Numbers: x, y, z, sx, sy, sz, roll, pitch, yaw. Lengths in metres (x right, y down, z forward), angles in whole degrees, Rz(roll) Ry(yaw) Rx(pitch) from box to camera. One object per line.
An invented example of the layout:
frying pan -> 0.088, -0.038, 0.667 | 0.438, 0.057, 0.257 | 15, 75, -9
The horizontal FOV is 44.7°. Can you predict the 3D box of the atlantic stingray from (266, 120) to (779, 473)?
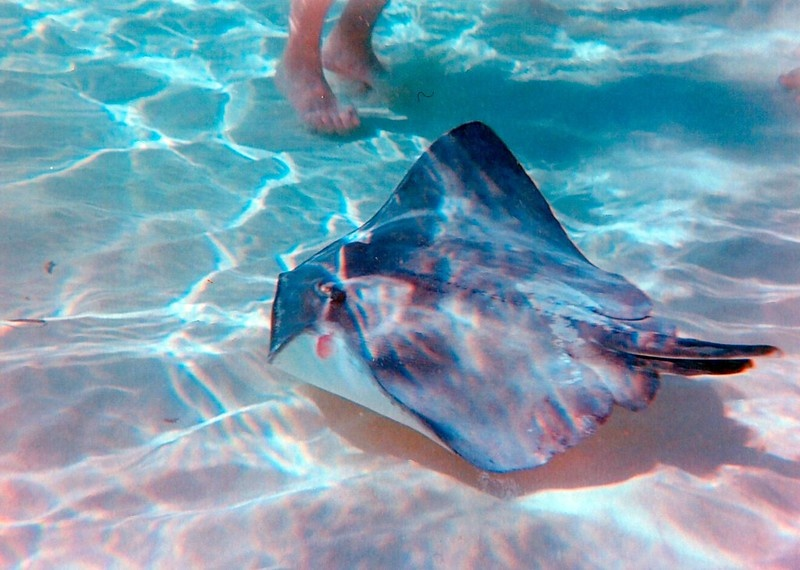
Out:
atlantic stingray -> 0.338, 0.211, 6.094 | 2.135, 0.481, 2.229 | -34, 59, -14
